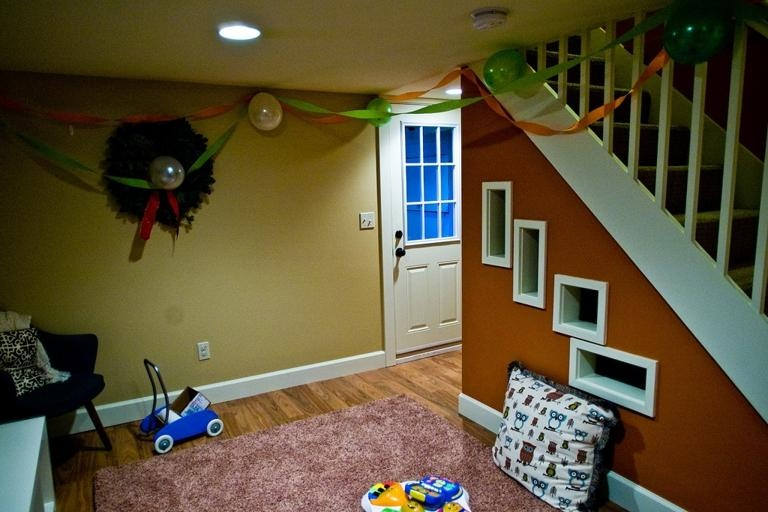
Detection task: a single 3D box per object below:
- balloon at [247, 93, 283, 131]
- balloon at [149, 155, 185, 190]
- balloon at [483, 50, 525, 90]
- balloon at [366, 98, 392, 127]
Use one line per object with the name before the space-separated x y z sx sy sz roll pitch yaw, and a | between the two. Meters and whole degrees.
balloon | -0.902 -1.119 4.214 0.268 0.286 0.171 -2 14 21
balloon | -1.610 -0.613 3.993 0.260 0.243 0.203 -7 6 -26
balloon | 0.775 -1.188 3.420 0.278 0.236 0.154 -4 6 8
balloon | -0.043 -1.162 4.180 0.165 0.243 0.554 -4 5 0
